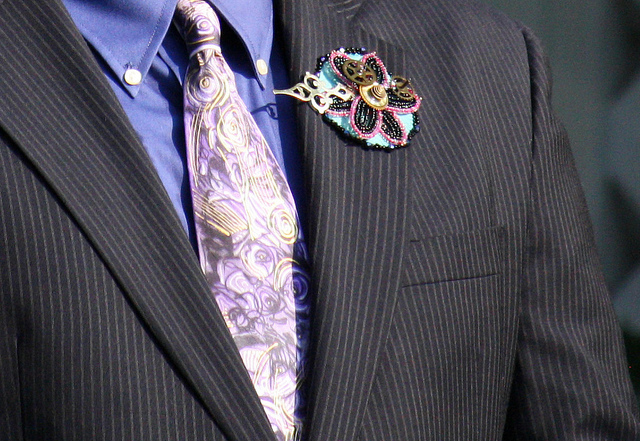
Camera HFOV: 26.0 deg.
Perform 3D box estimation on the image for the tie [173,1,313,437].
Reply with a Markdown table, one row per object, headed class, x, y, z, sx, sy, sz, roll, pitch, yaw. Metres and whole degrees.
| class | x | y | z | sx | sy | sz | roll | pitch | yaw |
| --- | --- | --- | --- | --- | --- | --- | --- | --- | --- |
| tie | -0.174 | 0.008 | 2.982 | 0.203 | 1.005 | 0.078 | -5 | -18 | -23 |
